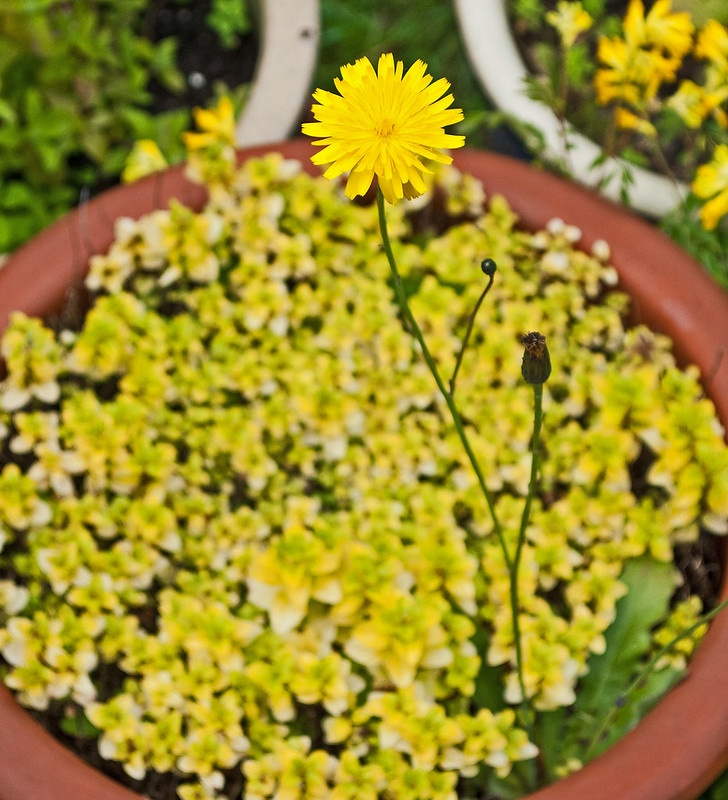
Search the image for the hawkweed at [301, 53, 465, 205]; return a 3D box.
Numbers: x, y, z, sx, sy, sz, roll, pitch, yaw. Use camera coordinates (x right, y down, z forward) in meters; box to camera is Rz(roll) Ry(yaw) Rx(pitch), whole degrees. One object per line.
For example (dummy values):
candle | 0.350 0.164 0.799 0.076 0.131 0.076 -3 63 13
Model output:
hawkweed | 0.012 -0.185 0.735 0.119 0.123 0.044 -5 91 -9
